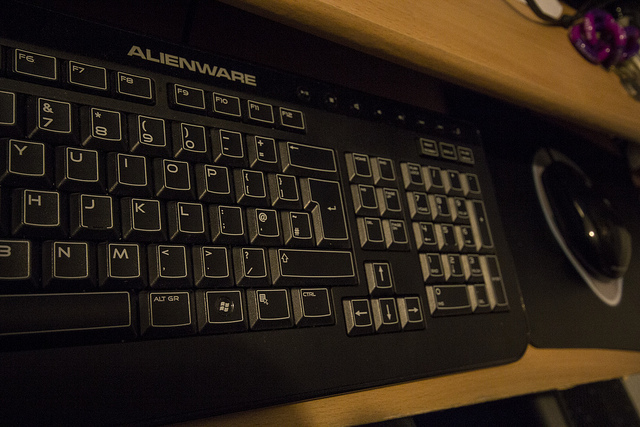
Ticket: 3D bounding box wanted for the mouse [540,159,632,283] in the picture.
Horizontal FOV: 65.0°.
[{"bbox_3d":[0.363,0.013,0.744,0.118,0.171,0.040,-5,-19,-27],"label":"mouse"}]
